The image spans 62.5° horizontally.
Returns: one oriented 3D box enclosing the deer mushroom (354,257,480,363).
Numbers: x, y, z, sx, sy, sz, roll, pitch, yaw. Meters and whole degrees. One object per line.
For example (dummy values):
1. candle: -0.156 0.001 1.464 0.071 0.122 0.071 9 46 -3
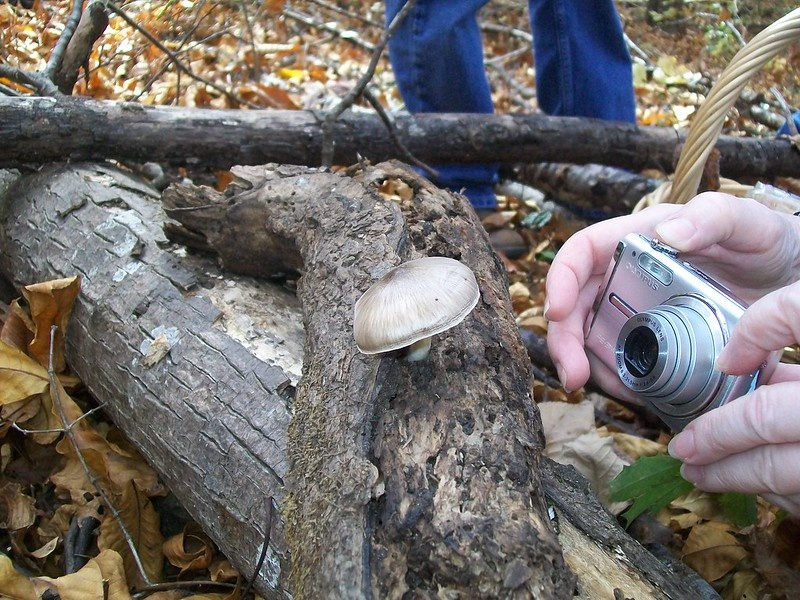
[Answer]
1. deer mushroom: 0.054 0.026 2.382 0.439 0.277 0.247 -3 30 -21
